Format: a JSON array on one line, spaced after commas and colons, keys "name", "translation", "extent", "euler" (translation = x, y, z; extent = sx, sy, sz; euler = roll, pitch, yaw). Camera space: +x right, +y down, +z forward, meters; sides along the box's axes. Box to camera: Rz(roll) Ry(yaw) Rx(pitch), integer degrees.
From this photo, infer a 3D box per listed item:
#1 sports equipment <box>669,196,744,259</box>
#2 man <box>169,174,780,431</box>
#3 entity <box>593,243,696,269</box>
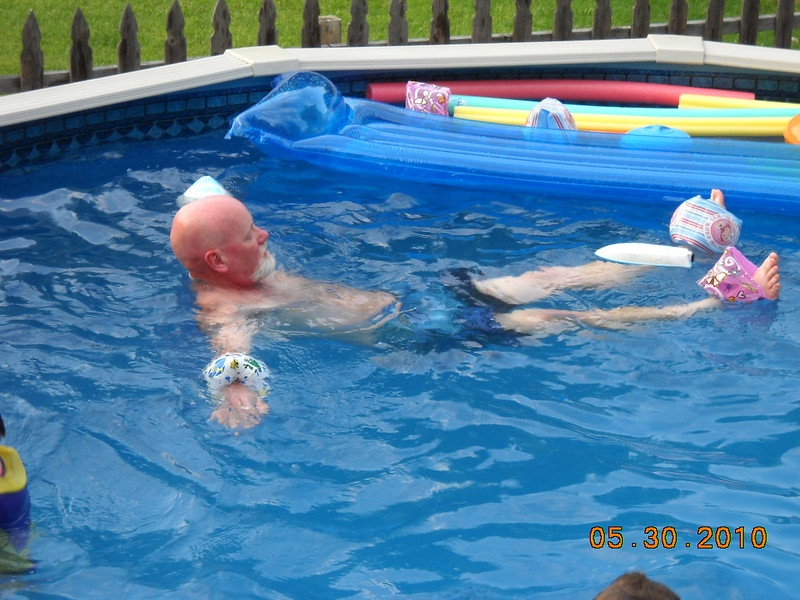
[{"name": "sports equipment", "translation": [1.829, -0.371, 4.985], "extent": [0.379, 0.160, 0.371], "euler": [-30, 3, -7]}, {"name": "man", "translation": [0.116, 0.005, 4.269], "extent": [2.299, 0.487, 1.628], "euler": [-3, 25, -1]}, {"name": "entity", "translation": [1.348, -0.244, 4.700], "extent": [0.624, 0.116, 0.147], "euler": [6, 39, 17]}]
